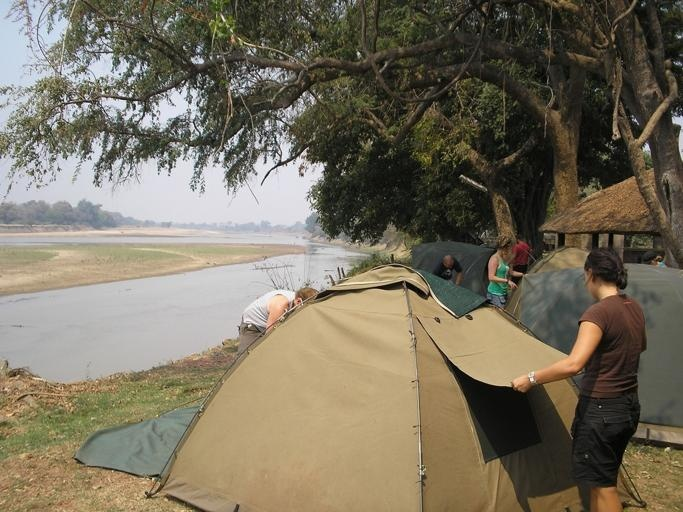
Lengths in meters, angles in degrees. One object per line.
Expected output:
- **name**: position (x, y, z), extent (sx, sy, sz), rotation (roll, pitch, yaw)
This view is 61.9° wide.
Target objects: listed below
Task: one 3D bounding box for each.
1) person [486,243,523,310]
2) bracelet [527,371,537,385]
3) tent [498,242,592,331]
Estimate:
- **person**: position (3.502, 0.448, 12.117), extent (0.564, 1.771, 0.592), rotation (-9, 25, 8)
- **bracelet**: position (2.145, 1.372, 6.409), extent (0.079, 0.141, 0.111), rotation (-18, -9, 42)
- **tent**: position (4.443, 0.789, 11.821), extent (1.555, 0.808, 1.710), rotation (-6, 7, -10)
